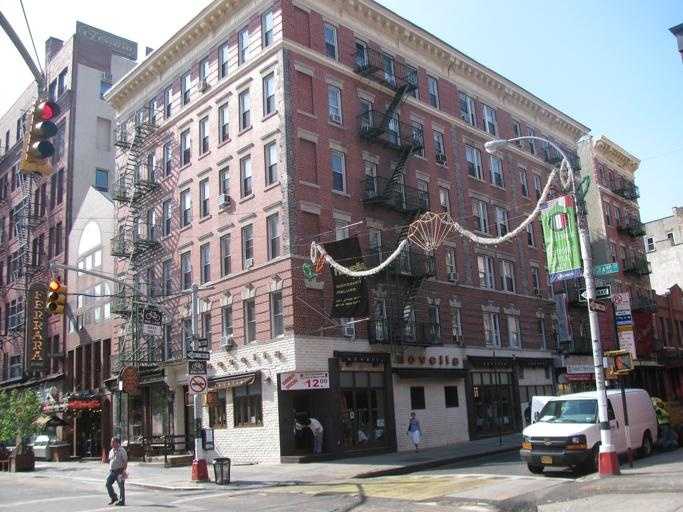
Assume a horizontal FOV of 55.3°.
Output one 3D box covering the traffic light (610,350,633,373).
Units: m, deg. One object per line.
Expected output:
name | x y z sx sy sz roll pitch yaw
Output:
traffic light | 10.103 3.830 23.665 0.812 0.839 0.677 -14 -19 28

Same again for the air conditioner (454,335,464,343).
air conditioner | 7.658 5.515 42.731 0.783 0.732 0.418 8 -13 -44

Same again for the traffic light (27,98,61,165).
traffic light | -7.738 -3.298 16.803 0.719 2.263 1.358 4 -19 -27

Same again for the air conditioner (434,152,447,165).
air conditioner | 6.836 -6.650 44.631 0.471 0.784 0.954 -17 -21 35

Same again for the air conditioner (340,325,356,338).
air conditioner | 0.261 4.201 36.402 0.639 0.845 1.156 -9 -12 37

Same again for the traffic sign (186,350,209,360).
traffic sign | -6.276 4.325 28.490 0.369 0.486 1.206 -13 -19 26

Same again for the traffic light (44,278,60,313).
traffic light | -10.574 1.401 23.973 0.455 1.318 0.740 3 -18 -24

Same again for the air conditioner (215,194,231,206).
air conditioner | -7.150 -3.309 39.228 0.620 0.846 1.076 7 -10 -36

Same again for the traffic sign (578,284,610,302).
traffic sign | 16.074 2.377 41.582 2.406 1.413 0.104 5 -12 -37

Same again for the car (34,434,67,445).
car | -22.201 13.857 48.922 2.199 0.818 1.045 -14 -19 22

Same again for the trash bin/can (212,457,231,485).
trash bin/can | -4.930 8.882 26.872 0.649 1.058 0.560 1 -17 -17

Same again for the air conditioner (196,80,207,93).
air conditioner | -9.014 -10.906 41.905 0.422 0.796 0.824 13 -22 -38

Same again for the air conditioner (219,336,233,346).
air conditioner | -6.652 4.893 37.478 0.892 0.774 0.474 -4 -10 31
